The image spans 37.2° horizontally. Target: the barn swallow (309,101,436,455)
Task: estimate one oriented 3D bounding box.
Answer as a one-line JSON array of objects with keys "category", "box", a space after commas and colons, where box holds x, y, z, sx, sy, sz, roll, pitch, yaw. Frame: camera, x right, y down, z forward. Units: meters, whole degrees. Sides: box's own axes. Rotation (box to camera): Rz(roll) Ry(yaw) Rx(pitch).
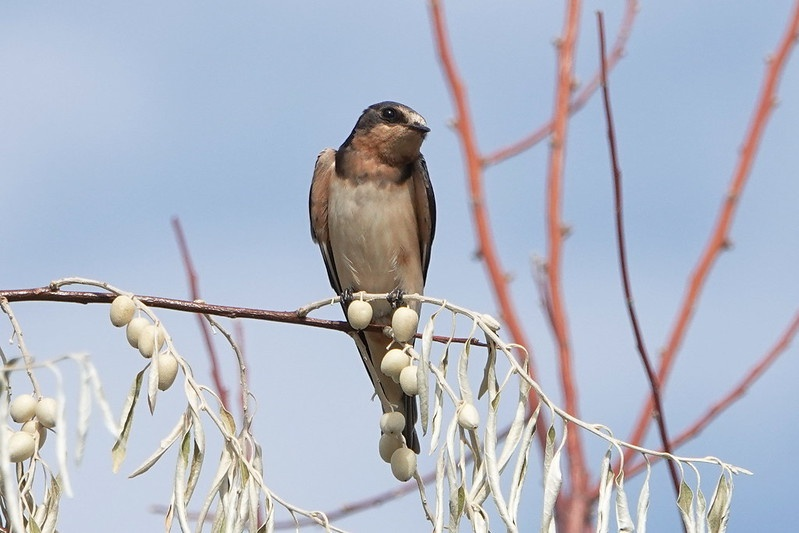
[{"category": "barn swallow", "box": [-0.104, 0.162, 6.079, 0.527, 0.772, 1.883, 0, -68, -2]}]
